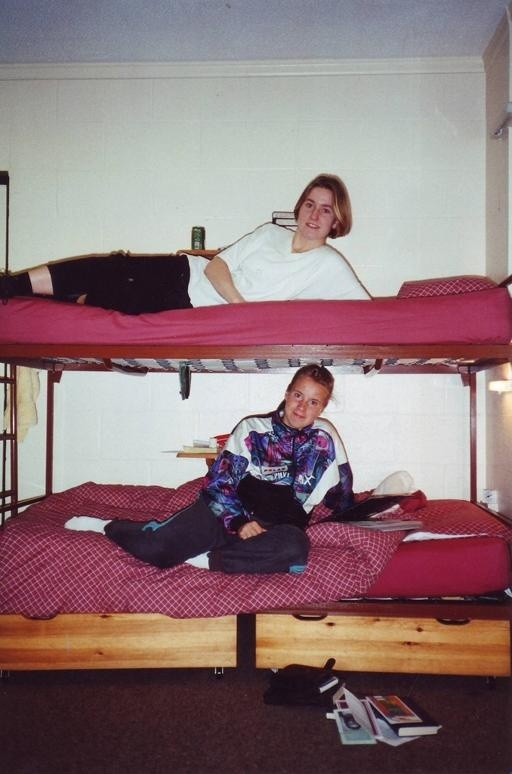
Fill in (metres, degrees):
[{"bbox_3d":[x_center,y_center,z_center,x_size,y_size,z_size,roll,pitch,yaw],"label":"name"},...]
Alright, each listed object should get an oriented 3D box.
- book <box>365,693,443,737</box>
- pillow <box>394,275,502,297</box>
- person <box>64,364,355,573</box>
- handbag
[{"bbox_3d":[0.488,1.085,2.342,0.190,0.043,0.198,-3,8,-18],"label":"book"},{"bbox_3d":[0.758,-0.401,2.848,0.360,0.081,0.440,1,8,10],"label":"pillow"},{"bbox_3d":[-0.134,0.353,3.009,1.289,0.860,0.667,3,-10,-13],"label":"person"},{"bbox_3d":[0.158,1.035,2.457,0.179,0.056,0.133,-1,4,11],"label":"handbag"}]
